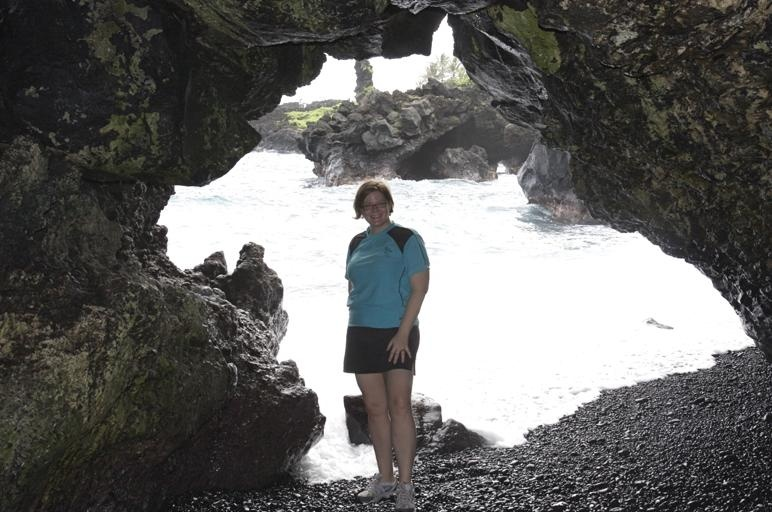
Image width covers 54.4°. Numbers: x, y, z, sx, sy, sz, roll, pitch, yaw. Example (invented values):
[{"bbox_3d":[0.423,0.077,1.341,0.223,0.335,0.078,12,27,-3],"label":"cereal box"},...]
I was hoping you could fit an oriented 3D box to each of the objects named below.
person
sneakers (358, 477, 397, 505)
[{"bbox_3d":[-0.018,0.769,6.585,0.711,2.780,0.776,0,13,34],"label":"person"},{"bbox_3d":[-0.087,2.062,6.647,0.380,0.192,0.162,-2,1,-17],"label":"sneakers"}]
